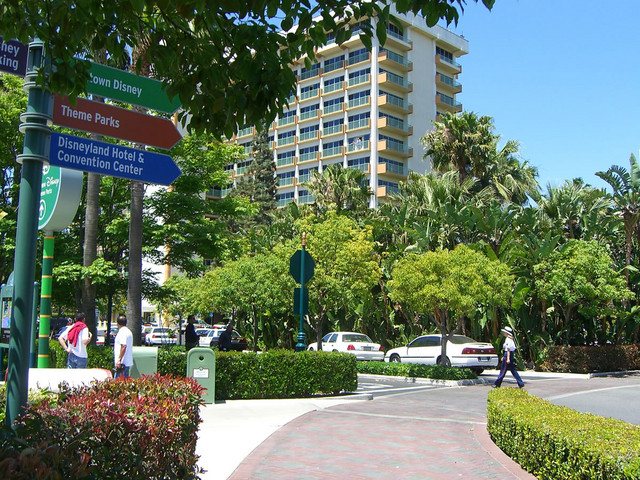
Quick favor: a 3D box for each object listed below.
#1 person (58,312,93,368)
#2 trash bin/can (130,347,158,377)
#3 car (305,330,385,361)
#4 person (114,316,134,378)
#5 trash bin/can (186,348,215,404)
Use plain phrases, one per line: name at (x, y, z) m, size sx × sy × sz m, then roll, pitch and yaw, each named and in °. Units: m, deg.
person at (-5.304, 2.229, 13.227) m, size 0.630 × 1.202 × 2.210 m, roll 3°, pitch -5°, yaw -23°
trash bin/can at (-3.744, 2.600, 13.049) m, size 0.524 × 0.554 × 0.643 m, roll 3°, pitch -5°, yaw -18°
car at (1.529, 5.312, 30.492) m, size 2.981 × 1.291 × 1.765 m, roll 0°, pitch -5°, yaw 22°
person at (-3.858, 2.103, 12.041) m, size 0.305 × 1.185 × 0.544 m, roll 3°, pitch -4°, yaw -22°
trash bin/can at (-2.790, 3.203, 14.349) m, size 0.650 × 1.287 × 0.435 m, roll 3°, pitch -4°, yaw -17°
